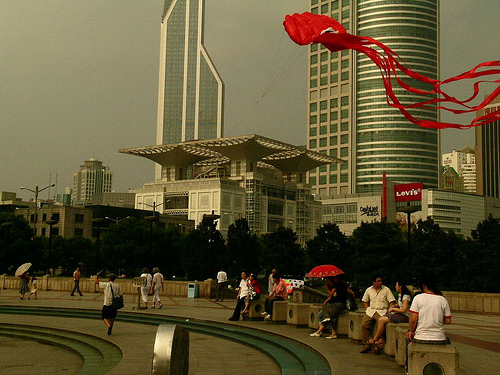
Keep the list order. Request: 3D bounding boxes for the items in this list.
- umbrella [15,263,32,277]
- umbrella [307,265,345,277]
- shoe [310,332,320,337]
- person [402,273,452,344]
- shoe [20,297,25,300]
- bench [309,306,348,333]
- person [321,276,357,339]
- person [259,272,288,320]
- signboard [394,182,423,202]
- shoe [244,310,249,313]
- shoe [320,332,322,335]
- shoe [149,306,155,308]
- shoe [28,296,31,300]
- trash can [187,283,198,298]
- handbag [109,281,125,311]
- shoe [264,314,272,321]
[{"bbox_3d":[-12.082,4.350,43.721,0.660,0.710,1.746,5,-9,-14],"label":"umbrella"},{"bbox_3d":[3.030,3.313,32.690,0.949,0.517,1.900,6,-9,-17],"label":"umbrella"},{"bbox_3d":[2.315,5.296,29.461,0.345,0.147,0.116,2,-14,6],"label":"shoe"},{"bbox_3d":[5.247,3.818,24.257,1.195,2.500,1.482,-1,-3,-2],"label":"person"},{"bbox_3d":[-11.904,5.818,42.924,0.248,0.125,1.078,5,-9,-16],"label":"shoe"},{"bbox_3d":[2.793,4.821,29.882,0.771,0.994,1.393,12,-15,-29],"label":"bench"},{"bbox_3d":[3.079,4.318,29.373,1.044,2.217,0.734,2,-9,5],"label":"person"},{"bbox_3d":[0.985,4.448,33.486,0.913,1.924,1.252,7,-10,-24],"label":"person"},{"bbox_3d":[29.341,0.925,152.468,2.147,3.604,5.433,10,-11,-38],"label":"signboard"},{"bbox_3d":[-0.172,5.101,33.702,0.050,0.126,0.243,11,-12,-39],"label":"shoe"},{"bbox_3d":[2.544,5.252,29.476,0.047,0.106,0.182,0,-9,17],"label":"shoe"},{"bbox_3d":[-4.646,5.659,38.848,0.250,0.081,0.813,4,-9,-7],"label":"shoe"},{"bbox_3d":[-11.667,5.868,43.351,0.107,0.194,0.108,2,-18,-11],"label":"shoe"},{"bbox_3d":[-3.274,5.810,46.354,0.692,0.917,0.664,-1,-6,-1],"label":"trash can"},{"bbox_3d":[-5.027,4.081,30.673,0.557,1.038,0.349,5,-9,-11],"label":"handbag"},{"bbox_3d":[0.678,5.245,33.089,0.219,0.244,0.318,7,-10,-23],"label":"shoe"}]
